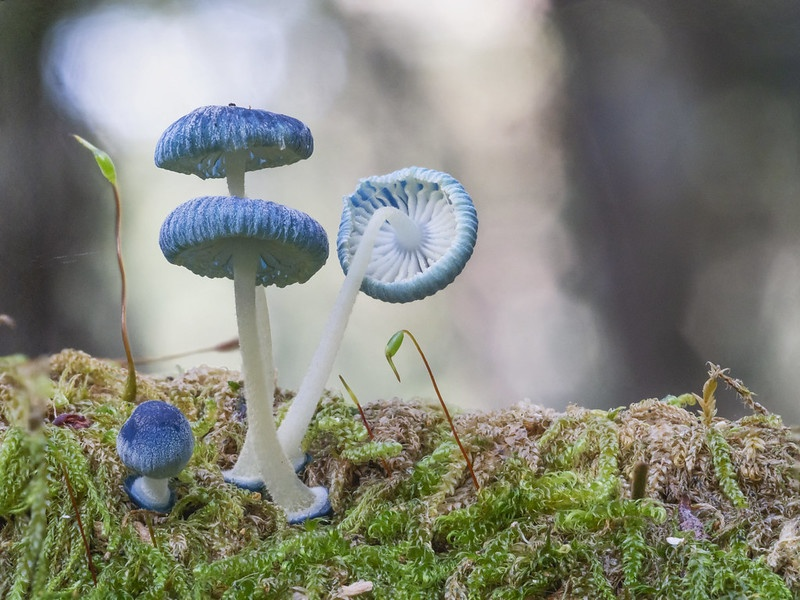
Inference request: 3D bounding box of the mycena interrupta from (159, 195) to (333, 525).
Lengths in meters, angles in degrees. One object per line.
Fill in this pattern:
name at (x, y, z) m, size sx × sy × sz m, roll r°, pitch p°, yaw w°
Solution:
mycena interrupta at (-0.493, 0.170, 3.823) m, size 0.547 × 0.998 × 0.380 m, roll 1°, pitch 7°, yaw -5°
